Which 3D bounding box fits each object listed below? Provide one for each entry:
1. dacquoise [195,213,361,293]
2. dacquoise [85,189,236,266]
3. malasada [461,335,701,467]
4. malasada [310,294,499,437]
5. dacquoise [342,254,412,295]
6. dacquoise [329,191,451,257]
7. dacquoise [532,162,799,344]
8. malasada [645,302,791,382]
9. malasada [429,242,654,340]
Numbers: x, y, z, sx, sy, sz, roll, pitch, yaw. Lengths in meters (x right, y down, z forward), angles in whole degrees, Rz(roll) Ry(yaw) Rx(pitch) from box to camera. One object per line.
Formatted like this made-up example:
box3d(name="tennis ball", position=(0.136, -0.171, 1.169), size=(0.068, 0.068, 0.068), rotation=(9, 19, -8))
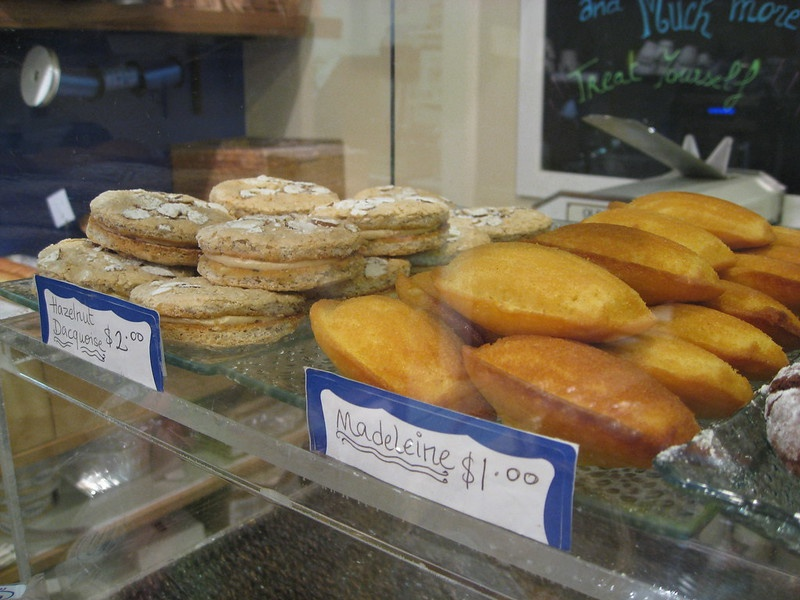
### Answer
box3d(name="dacquoise", position=(-0.161, -0.077, 0.945), size=(0.215, 0.045, 0.157), rotation=(1, 22, 1))
box3d(name="dacquoise", position=(-0.355, -0.113, 1.043), size=(0.174, 0.040, 0.168), rotation=(24, 24, 33))
box3d(name="malasada", position=(0.174, 0.090, 0.637), size=(0.224, 0.067, 0.125), rotation=(21, 12, 33))
box3d(name="malasada", position=(0.012, 0.063, 0.691), size=(0.206, 0.050, 0.092), rotation=(22, 43, 17))
box3d(name="dacquoise", position=(-0.029, -0.034, 0.926), size=(0.080, 0.016, 0.058), rotation=(-16, 26, -31))
box3d(name="dacquoise", position=(-0.015, -0.106, 0.955), size=(0.153, 0.032, 0.113), rotation=(-2, 13, -4))
box3d(name="dacquoise", position=(0.270, -0.052, 0.739), size=(0.240, 0.065, 0.205), rotation=(-14, 26, -26))
box3d(name="malasada", position=(0.320, 0.046, 0.658), size=(0.098, 0.042, 0.139), rotation=(-13, -15, -8))
box3d(name="malasada", position=(0.127, -0.012, 0.662), size=(0.222, 0.065, 0.106), rotation=(18, 35, 28))
